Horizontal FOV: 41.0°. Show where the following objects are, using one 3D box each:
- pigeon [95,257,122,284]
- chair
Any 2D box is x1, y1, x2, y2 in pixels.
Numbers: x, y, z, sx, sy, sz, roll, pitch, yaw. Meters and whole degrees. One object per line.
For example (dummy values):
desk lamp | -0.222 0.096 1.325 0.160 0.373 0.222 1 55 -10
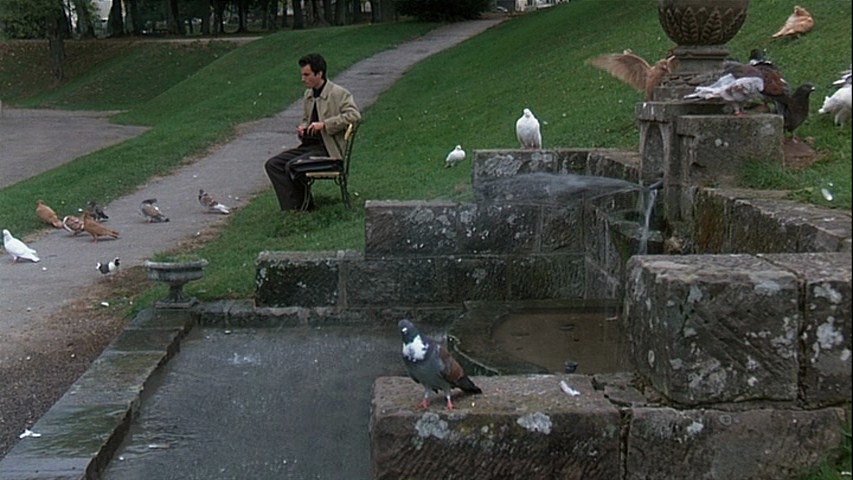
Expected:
pigeon | -6.297 0.575 22.820 0.630 0.481 0.284 23 23 22
chair | -2.148 -1.752 24.859 1.720 2.088 1.643 2 9 -5
